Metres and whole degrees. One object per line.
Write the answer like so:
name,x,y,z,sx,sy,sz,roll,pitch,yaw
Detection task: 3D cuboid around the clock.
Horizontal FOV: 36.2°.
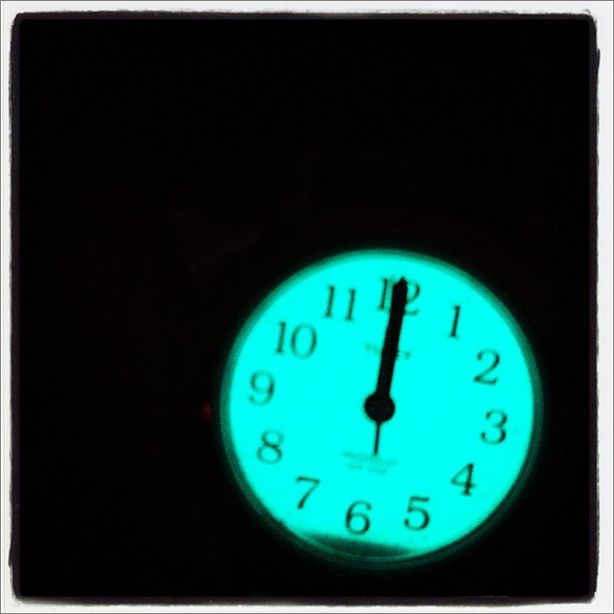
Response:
clock,0.132,0.194,1.790,0.497,0.083,0.605,1,93,2
